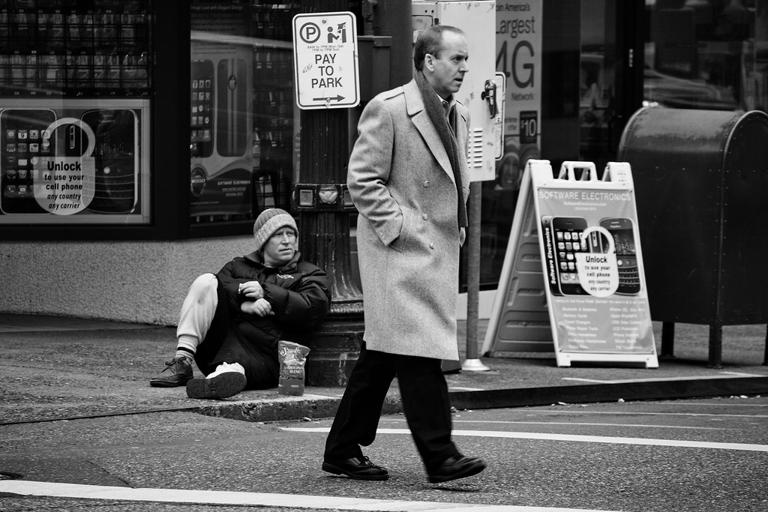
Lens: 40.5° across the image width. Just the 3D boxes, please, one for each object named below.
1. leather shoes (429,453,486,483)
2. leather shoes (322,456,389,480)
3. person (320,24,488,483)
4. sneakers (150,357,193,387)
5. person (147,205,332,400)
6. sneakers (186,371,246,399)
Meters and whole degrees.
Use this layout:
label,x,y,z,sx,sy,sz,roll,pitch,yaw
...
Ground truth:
label,x,y,z,sx,sy,sz,roll,pitch,yaw
leather shoes,0.417,1.221,6.068,0.362,0.154,0.133,-17,-6,10
leather shoes,-0.169,1.279,6.269,0.360,0.161,0.164,2,1,-4
person,0.173,-0.012,6.459,1.023,2.705,1.375,6,-7,-31
sneakers,-1.781,0.929,8.383,0.455,0.223,0.179,-2,4,-15
person,-1.102,0.354,8.418,1.311,1.425,0.505,-2,6,-14
sneakers,-1.264,0.973,7.927,0.459,0.188,0.209,-1,3,-3
